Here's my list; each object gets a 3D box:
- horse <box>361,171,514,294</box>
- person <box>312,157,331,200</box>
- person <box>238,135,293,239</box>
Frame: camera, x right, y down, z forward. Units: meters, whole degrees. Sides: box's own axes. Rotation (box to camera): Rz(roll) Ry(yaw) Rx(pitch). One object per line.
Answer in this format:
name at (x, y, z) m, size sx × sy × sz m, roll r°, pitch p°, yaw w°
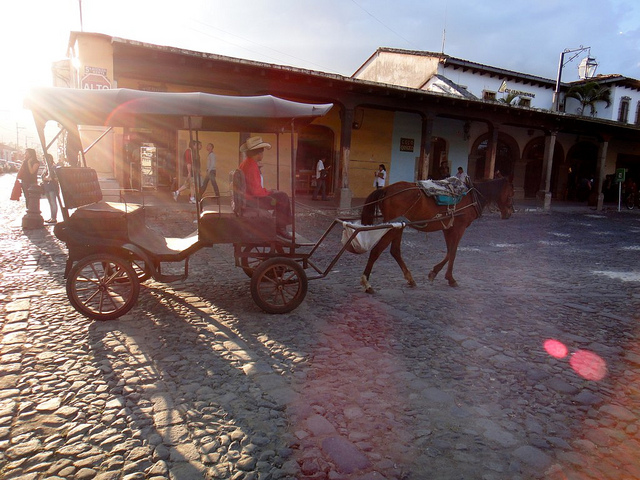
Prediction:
horse at (2.038, -0.133, 7.347) m, size 2.889 × 1.989 × 0.782 m, roll 0°, pitch 8°, yaw -18°
person at (0.033, -2.428, 17.262) m, size 0.601 × 1.574 × 1.289 m, roll 3°, pitch 11°, yaw 1°
person at (-0.728, -0.726, 5.836) m, size 0.733 × 1.352 × 0.757 m, roll 1°, pitch 11°, yaw -9°
